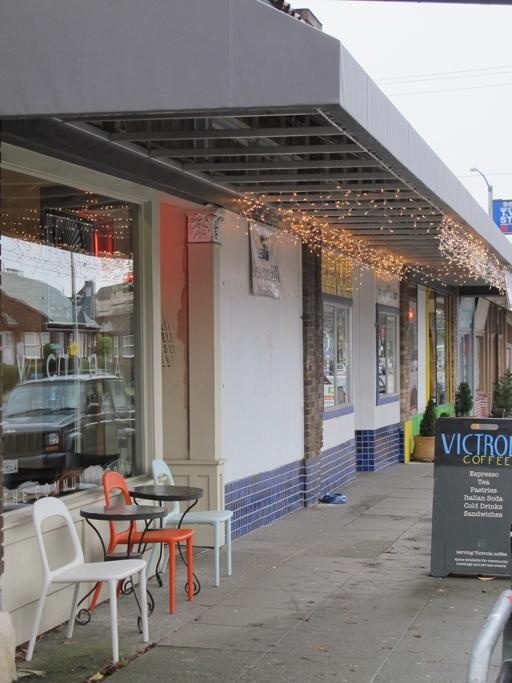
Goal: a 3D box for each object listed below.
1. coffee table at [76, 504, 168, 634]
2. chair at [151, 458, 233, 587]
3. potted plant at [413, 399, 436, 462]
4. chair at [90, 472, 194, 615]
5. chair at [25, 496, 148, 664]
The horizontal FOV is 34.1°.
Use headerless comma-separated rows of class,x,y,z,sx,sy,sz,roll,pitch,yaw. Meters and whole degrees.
coffee table,-0.762,1.233,4.821,0.469,0.564,0.481,1,-20,-11
chair,-0.484,1.259,6.113,0.518,0.824,0.454,3,2,5
potted plant,2.940,1.529,14.617,0.383,1.045,0.626,-1,-2,11
chair,-0.697,1.231,5.309,0.533,0.844,0.545,-1,-3,12
chair,-0.897,1.229,4.441,0.502,0.831,0.518,-2,-4,12
